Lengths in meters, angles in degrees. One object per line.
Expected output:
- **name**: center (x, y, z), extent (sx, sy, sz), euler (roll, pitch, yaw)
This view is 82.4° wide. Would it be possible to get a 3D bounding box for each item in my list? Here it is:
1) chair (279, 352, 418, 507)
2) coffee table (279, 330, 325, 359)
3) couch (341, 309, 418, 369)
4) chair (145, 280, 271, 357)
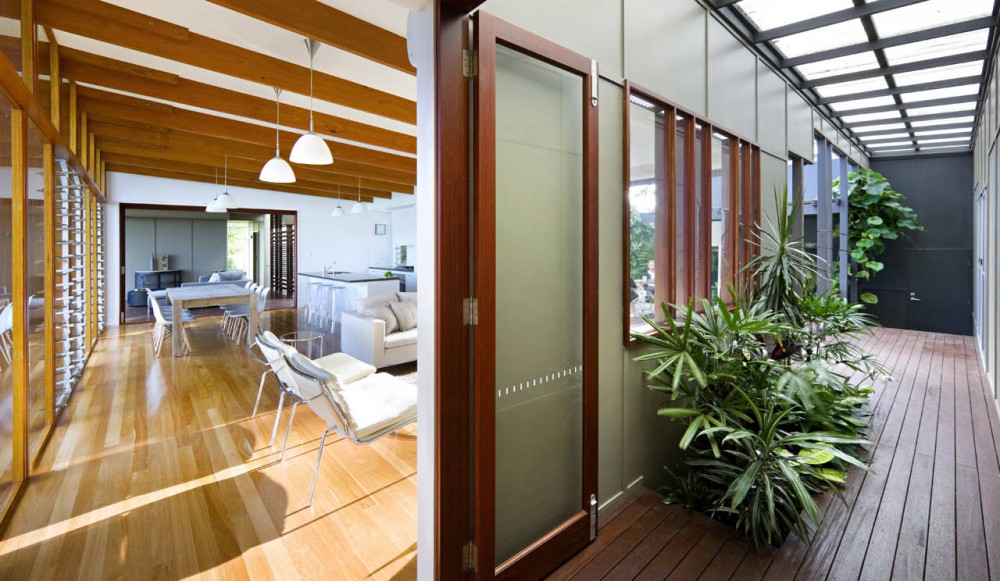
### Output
- **chair**: center (-1.569, 1.232, 6.001), extent (1.363, 1.187, 1.300), euler (-2, 12, -31)
- **coffee table**: center (-2.669, 0.728, 7.717), extent (0.487, 0.516, 0.491), euler (1, 1, 27)
- **couch**: center (-1.698, 0.660, 8.517), extent (1.094, 0.681, 0.986), euler (-5, 11, -44)
- **chair**: center (-5.255, 0.423, 10.023), extent (1.546, 0.992, 2.447), euler (-6, 6, -32)
